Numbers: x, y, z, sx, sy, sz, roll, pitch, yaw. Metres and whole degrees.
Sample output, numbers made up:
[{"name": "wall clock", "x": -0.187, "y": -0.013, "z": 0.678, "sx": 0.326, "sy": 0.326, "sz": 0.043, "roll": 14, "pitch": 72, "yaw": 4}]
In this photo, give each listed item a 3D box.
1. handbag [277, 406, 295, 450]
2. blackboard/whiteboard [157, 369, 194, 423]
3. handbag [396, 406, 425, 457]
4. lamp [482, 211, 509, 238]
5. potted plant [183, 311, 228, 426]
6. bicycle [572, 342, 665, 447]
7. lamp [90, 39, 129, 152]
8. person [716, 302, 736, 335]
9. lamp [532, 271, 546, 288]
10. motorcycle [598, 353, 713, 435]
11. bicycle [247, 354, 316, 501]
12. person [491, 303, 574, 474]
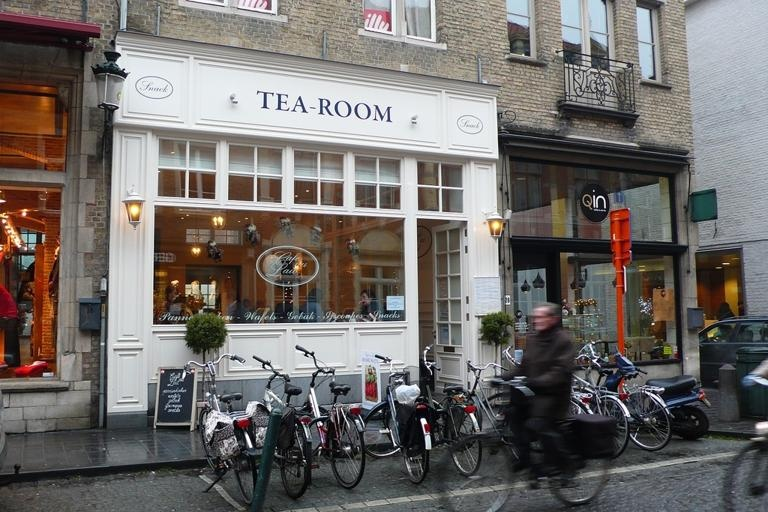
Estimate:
[{"name": "handbag", "x": -1.426, "y": 2.557, "z": 11.188, "sx": 0.152, "sy": 0.559, "sz": 0.365, "roll": 4, "pitch": -3, "yaw": 0}, {"name": "blackboard/whiteboard", "x": -4.012, "y": 2.729, "z": 14.563, "sx": 0.839, "sy": 1.209, "sz": 0.166, "roll": 2, "pitch": -7, "yaw": -21}, {"name": "handbag", "x": 0.435, "y": 2.698, "z": 11.841, "sx": 0.197, "sy": 0.734, "sz": 0.588, "roll": 3, "pitch": -8, "yaw": -42}, {"name": "lamp", "x": 2.628, "y": -0.724, "z": 17.319, "sx": 0.366, "sy": 0.675, "sz": 0.649, "roll": -8, "pitch": -8, "yaw": 43}, {"name": "potted plant", "x": -3.509, "y": 2.083, "z": 15.032, "sx": 0.891, "sy": 1.874, "sz": 0.827, "roll": -1, "pitch": -9, "yaw": -10}, {"name": "bicycle", "x": 4.368, "y": 2.601, "z": 13.858, "sx": 1.084, "sy": 1.276, "sz": 2.106, "roll": 26, "pitch": 8, "yaw": -42}, {"name": "lamp", "x": -5.320, "y": -3.075, "z": 14.600, "sx": 0.705, "sy": 2.063, "sz": 0.694, "roll": 3, "pitch": 3, "yaw": 8}, {"name": "person", "x": 10.591, "y": 1.919, "z": 23.399, "sx": 0.513, "sy": 0.940, "sz": 0.600, "roll": 2, "pitch": -4, "yaw": 37}, {"name": "lamp", "x": 3.709, "y": 0.588, "z": 18.168, "sx": 0.346, "sy": 0.416, "sz": 0.336, "roll": 0, "pitch": 3, "yaw": 7}, {"name": "motorcycle", "x": 5.084, "y": 2.693, "z": 14.486, "sx": 1.261, "sy": 1.377, "sz": 2.034, "roll": -3, "pitch": 2, "yaw": -38}, {"name": "bicycle", "x": -1.398, "y": 2.704, "z": 11.929, "sx": 1.040, "sy": 1.192, "sz": 2.051, "roll": 1, "pitch": 1, "yaw": -22}, {"name": "person", "x": 2.104, "y": 1.752, "z": 10.590, "sx": 0.955, "sy": 2.260, "sz": 0.911, "roll": 2, "pitch": -3, "yaw": -44}]
